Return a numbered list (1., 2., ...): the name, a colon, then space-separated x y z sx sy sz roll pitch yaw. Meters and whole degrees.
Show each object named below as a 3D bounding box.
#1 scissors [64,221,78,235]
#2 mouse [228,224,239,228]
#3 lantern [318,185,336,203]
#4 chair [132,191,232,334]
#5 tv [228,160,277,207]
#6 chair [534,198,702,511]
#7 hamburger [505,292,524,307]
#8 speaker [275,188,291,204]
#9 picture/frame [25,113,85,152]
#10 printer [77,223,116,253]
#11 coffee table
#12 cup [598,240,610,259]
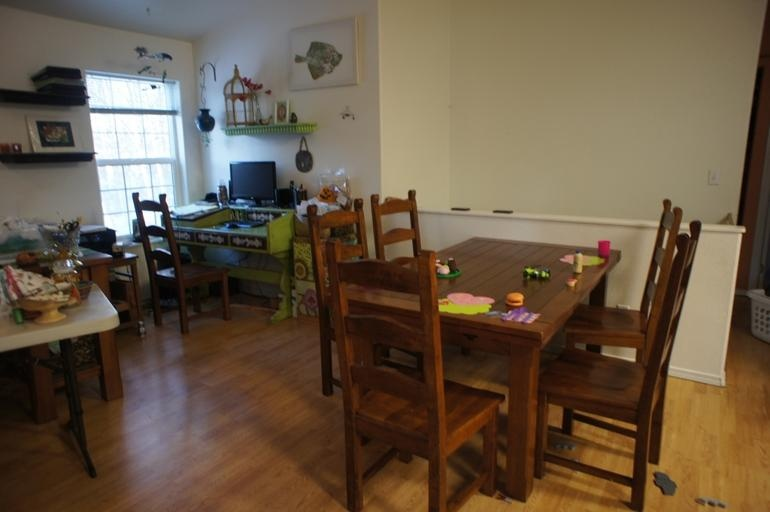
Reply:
1. scissors: -2.329 -0.215 4.102 0.091 0.067 0.082 -7 -1 32
2. mouse: -1.569 -0.320 5.708 0.060 0.029 0.085 -2 10 -27
3. lantern: -0.558 -0.607 5.337 0.154 0.153 0.154 -10 16 -28
4. chair: -2.042 -0.025 5.516 0.702 1.269 1.102 -9 15 -27
5. tv: -1.385 -0.781 5.882 0.608 0.449 0.136 6 10 26
6. chair: 1.519 0.616 3.577 0.704 1.668 1.191 10 18 41
7. hamburger: 0.805 0.263 3.394 0.086 0.044 0.085 -14 12 -36
8. speaker: -1.034 -0.611 5.680 0.142 0.273 0.150 1 3 -1
9. picture/frame: -3.095 -1.150 5.218 0.015 0.344 0.446 -3 8 34
10. printer: -2.663 -0.171 5.162 0.333 0.258 0.317 7 1 -25
11. coffee table: -2.401 0.423 5.259 0.449 0.673 0.615 -1 -15 5
12. cup: 1.613 -0.050 4.076 0.089 0.145 0.088 -3 17 1
